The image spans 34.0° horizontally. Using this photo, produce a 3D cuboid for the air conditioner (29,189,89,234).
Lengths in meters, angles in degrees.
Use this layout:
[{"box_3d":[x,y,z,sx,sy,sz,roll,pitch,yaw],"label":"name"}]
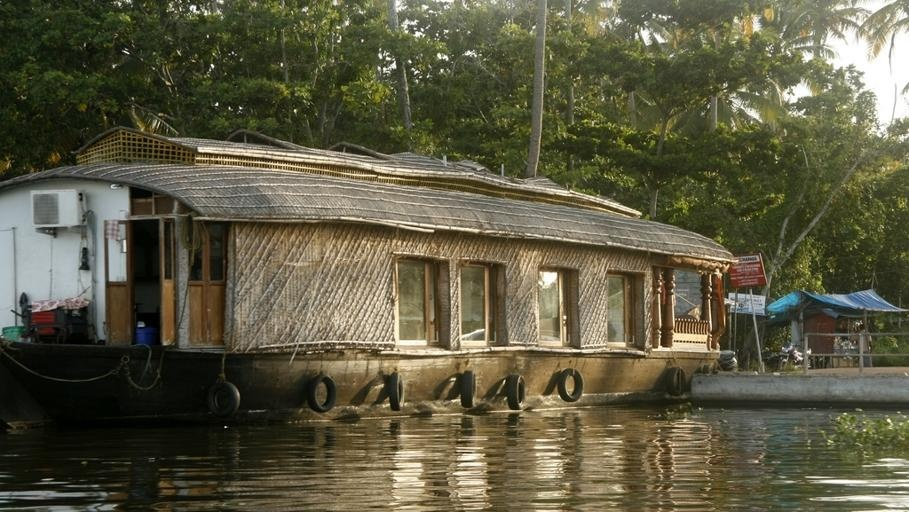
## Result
[{"box_3d":[-9.916,-1.175,37.456,1.769,1.203,0.915,-1,-5,3],"label":"air conditioner"}]
